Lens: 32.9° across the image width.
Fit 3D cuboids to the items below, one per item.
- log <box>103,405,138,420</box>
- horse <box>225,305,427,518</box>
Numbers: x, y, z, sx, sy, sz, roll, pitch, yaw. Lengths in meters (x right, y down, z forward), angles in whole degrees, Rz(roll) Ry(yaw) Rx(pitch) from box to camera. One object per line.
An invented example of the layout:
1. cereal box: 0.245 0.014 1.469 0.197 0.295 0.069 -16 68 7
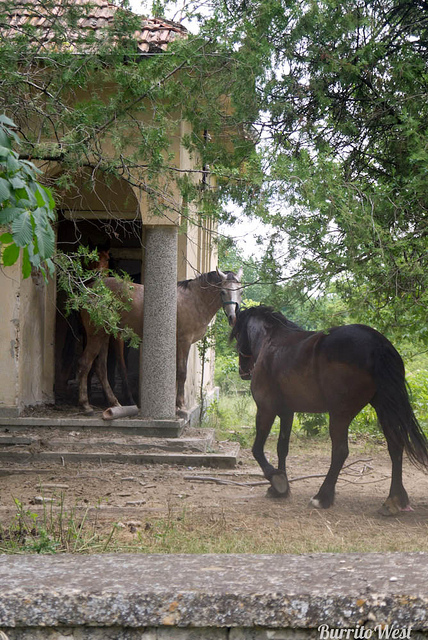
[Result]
1. log: -1.272 1.213 9.548 0.301 0.148 0.617 1 -3 20
2. horse: 0.995 0.740 6.560 0.875 1.827 1.955 4 -4 -21
